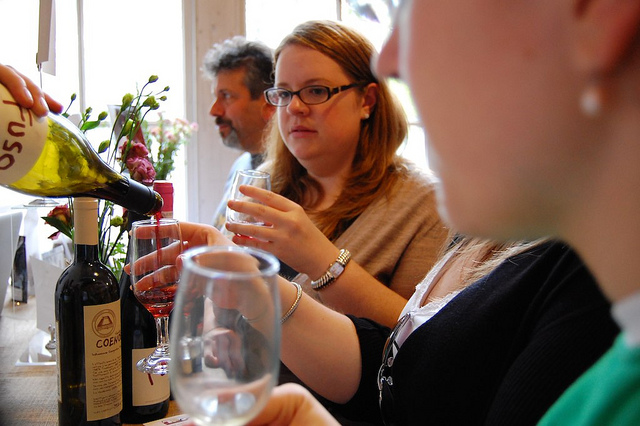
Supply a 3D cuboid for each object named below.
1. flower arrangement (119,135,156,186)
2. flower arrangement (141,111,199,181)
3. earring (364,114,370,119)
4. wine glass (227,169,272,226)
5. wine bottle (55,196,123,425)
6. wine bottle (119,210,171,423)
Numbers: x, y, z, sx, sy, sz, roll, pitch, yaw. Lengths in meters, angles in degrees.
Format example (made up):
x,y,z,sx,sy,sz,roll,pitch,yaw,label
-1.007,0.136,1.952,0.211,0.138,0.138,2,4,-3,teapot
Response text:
x,y,z,sx,sy,sz,roll,pitch,yaw,label
-0.403,-0.121,1.215,0.053,0.113,0.111,-9,5,-9,flower arrangement
-0.913,-0.427,3.134,0.332,0.799,0.399,0,2,-14,flower arrangement
0.179,-0.371,1.931,0.013,0.007,0.013,-4,-18,-1,earring
-0.194,-0.044,1.392,0.111,0.148,0.274,0,8,-9,wine glass
-0.431,0.180,0.998,0.095,0.431,0.124,-5,10,-43,wine bottle
-0.394,0.216,1.110,0.127,0.419,0.120,-1,-3,0,wine bottle
